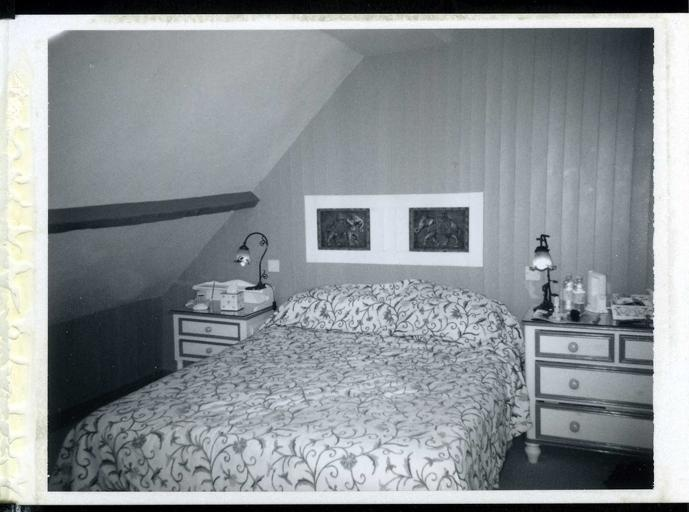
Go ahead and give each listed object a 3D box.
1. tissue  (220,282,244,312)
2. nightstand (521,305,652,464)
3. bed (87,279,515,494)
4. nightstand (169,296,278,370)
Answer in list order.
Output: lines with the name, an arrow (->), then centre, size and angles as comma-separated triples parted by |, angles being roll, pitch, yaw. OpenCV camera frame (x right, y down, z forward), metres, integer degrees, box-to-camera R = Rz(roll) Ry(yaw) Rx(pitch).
tissue  -> -0.851, 0.313, 4.474 | 0.189, 0.272, 0.194 | 3, 11, 6
nightstand -> 1.531, 0.819, 3.483 | 0.801, 0.827, 0.438 | 1, -5, 18
bed -> 0.011, 0.737, 3.059 | 1.192, 0.463, 1.507 | 1, 4, 25
nightstand -> -1.042, 0.602, 4.607 | 0.626, 0.606, 0.478 | 4, 26, -3
